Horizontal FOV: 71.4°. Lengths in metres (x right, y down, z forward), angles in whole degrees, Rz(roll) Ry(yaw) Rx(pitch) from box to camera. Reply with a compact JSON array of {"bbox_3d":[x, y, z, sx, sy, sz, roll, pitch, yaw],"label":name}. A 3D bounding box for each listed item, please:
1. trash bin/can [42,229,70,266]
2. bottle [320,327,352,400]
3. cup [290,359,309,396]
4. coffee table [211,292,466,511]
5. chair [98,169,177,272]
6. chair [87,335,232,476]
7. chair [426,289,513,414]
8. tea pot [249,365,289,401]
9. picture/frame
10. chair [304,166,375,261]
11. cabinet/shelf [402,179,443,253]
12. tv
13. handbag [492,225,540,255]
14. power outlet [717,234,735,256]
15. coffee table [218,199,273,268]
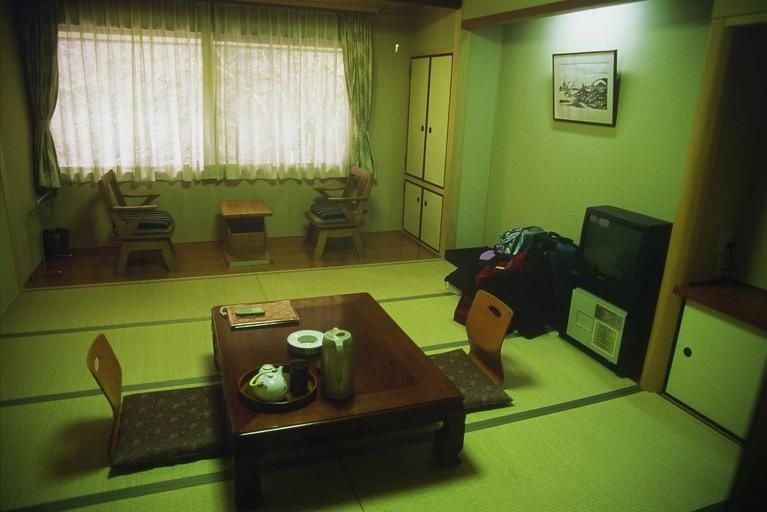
[{"bbox_3d":[-3.656,-0.111,5.964,0.342,0.386,0.316,-6,15,-35],"label":"trash bin/can"},{"bbox_3d":[-0.288,0.669,3.283,0.183,0.395,0.177,-1,18,0],"label":"bottle"},{"bbox_3d":[-0.524,0.757,3.300,0.120,0.196,0.168,4,10,19],"label":"cup"},{"bbox_3d":[-0.325,1.085,3.534,1.168,0.441,1.480,-7,26,-17],"label":"coffee table"},{"bbox_3d":[-2.683,-0.401,5.938,0.773,0.971,0.836,-4,19,-25],"label":"chair"},{"bbox_3d":[-1.456,1.089,3.785,0.925,0.821,0.928,-4,28,-18],"label":"chair"},{"bbox_3d":[0.619,0.668,4.066,0.521,0.668,0.722,-3,23,-18],"label":"chair"},{"bbox_3d":[-0.704,0.797,3.341,0.222,0.130,0.277,2,16,0],"label":"tea pot"},{"bbox_3d":[1.912,-1.600,5.042,0.048,0.691,0.726,-13,20,-30],"label":"picture/frame"},{"bbox_3d":[-0.557,-0.588,6.702,0.816,1.002,0.939,-3,19,-7],"label":"chair"},{"bbox_3d":[0.519,-0.519,6.961,0.281,0.709,0.812,-6,20,-23],"label":"cabinet/shelf"},{"bbox_3d":[1.959,-0.021,4.336,0.382,0.618,0.649,-3,16,-35],"label":"tv"},{"bbox_3d":[1.302,-0.162,5.143,0.358,0.167,0.279,-13,13,-7],"label":"handbag"},{"bbox_3d":[2.578,-0.097,4.042,0.153,0.161,0.017,-2,9,-16],"label":"power outlet"},{"bbox_3d":[-1.696,-0.285,6.723,0.615,0.523,0.853,-1,7,-23],"label":"coffee table"}]
